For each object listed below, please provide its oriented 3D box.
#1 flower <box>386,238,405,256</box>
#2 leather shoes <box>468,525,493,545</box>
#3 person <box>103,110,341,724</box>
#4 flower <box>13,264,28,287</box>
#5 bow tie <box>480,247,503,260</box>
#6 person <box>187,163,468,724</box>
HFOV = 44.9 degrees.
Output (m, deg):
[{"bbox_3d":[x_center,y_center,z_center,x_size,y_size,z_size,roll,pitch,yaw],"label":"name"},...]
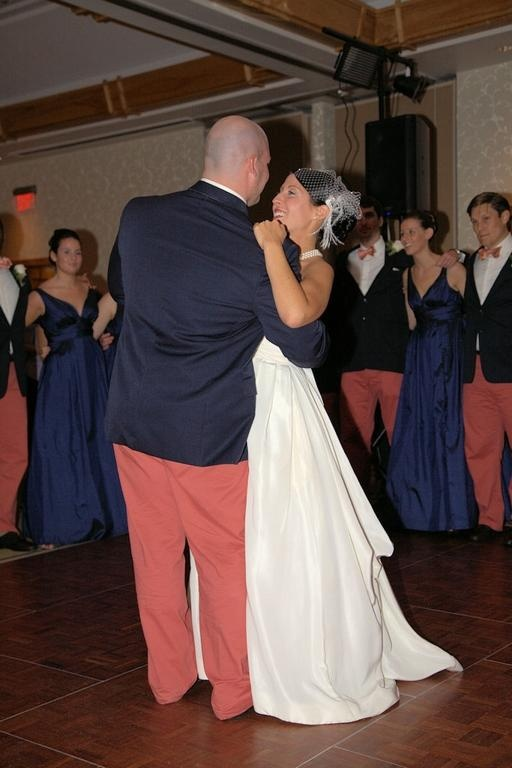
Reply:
[{"bbox_3d":[0.917,-0.889,4.043,0.074,0.097,0.042,-3,-26,22],"label":"flower"},{"bbox_3d":[1.253,0.823,3.418,0.108,0.087,0.234,-7,-3,42],"label":"leather shoes"},{"bbox_3d":[-0.109,0.105,1.448,0.625,0.968,0.382,-7,-3,44],"label":"person"},{"bbox_3d":[-1.350,-0.627,3.553,0.041,0.114,0.087,-13,-8,-19],"label":"flower"},{"bbox_3d":[1.297,-0.732,3.448,0.078,0.074,0.025,-9,-10,14],"label":"bow tie"},{"bbox_3d":[0.174,0.109,1.582,0.559,1.183,0.531,-2,11,-24],"label":"person"}]
